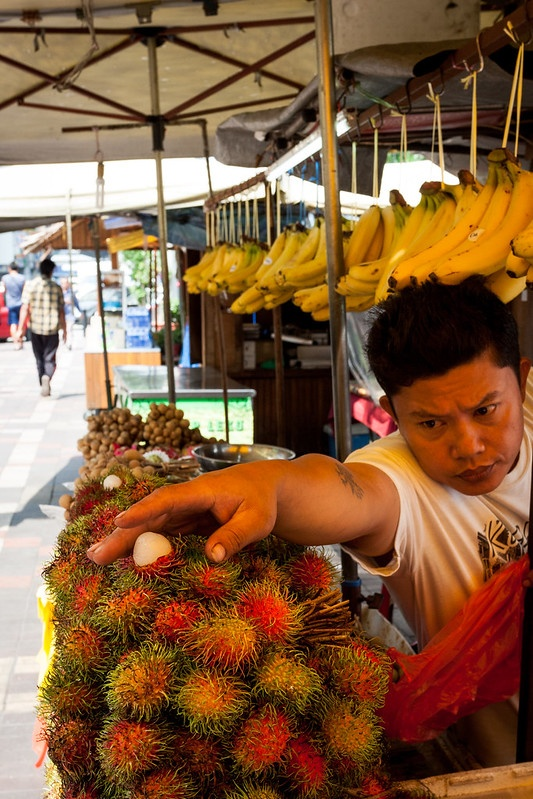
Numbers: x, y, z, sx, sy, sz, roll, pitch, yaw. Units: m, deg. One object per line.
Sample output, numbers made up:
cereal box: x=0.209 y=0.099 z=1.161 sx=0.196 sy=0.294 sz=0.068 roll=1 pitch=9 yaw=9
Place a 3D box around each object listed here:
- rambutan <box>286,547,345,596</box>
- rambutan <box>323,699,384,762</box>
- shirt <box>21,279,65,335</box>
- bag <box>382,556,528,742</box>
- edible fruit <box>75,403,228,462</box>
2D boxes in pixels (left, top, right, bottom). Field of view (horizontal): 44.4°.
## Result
rambutan: x=0.060 y=0.209 z=0.831 sx=0.057 sy=0.053 sz=0.055 roll=-13 pitch=-1 yaw=1
rambutan: x=0.085 y=0.333 z=0.655 sx=0.071 sy=0.064 sz=0.066 roll=0 pitch=-3 yaw=1
shirt: x=-3.108 y=-1.307 z=9.084 sx=0.522 sy=0.833 sz=0.406 roll=-7 pitch=12 yaw=-15
bag: x=0.284 y=0.385 z=0.969 sx=0.271 sy=0.275 sz=0.084 roll=-7 pitch=13 yaw=-17
edible fruit: x=-0.506 y=0.081 z=2.771 sx=0.423 sy=0.146 sz=0.305 roll=-5 pitch=7 yaw=-29
